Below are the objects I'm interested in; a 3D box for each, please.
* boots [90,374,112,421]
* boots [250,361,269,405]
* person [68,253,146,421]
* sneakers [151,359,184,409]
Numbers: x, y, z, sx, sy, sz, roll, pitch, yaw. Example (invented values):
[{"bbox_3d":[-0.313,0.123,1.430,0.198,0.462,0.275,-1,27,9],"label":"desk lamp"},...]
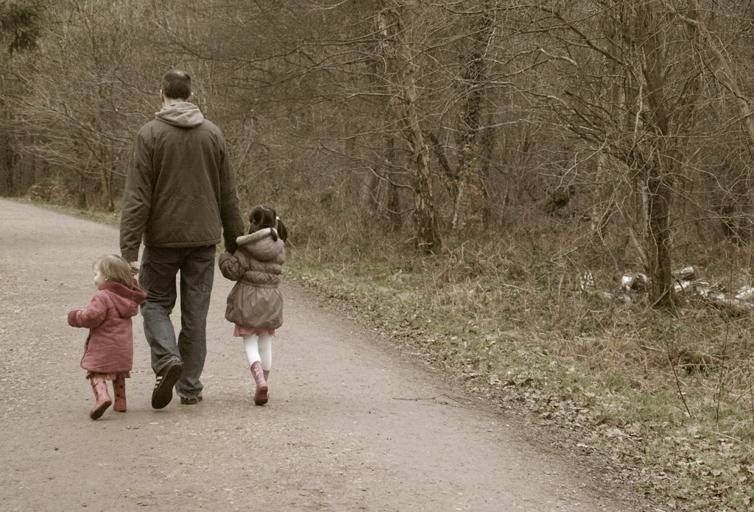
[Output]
[{"bbox_3d":[-3.065,1.546,10.324,0.240,0.484,0.327,3,5,-16],"label":"boots"},{"bbox_3d":[-1.367,1.472,10.884,0.185,0.487,0.452,-1,37,-20],"label":"boots"},{"bbox_3d":[-3.000,0.881,10.361,0.759,1.809,0.479,2,5,-20],"label":"person"},{"bbox_3d":[-2.337,1.416,10.478,0.238,0.683,0.271,16,8,-33],"label":"sneakers"}]
